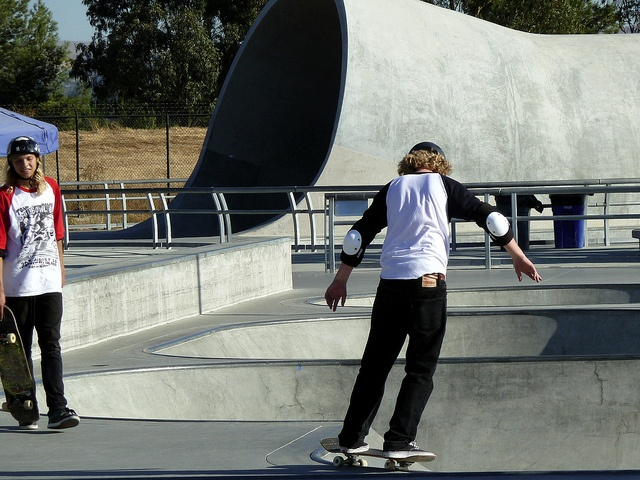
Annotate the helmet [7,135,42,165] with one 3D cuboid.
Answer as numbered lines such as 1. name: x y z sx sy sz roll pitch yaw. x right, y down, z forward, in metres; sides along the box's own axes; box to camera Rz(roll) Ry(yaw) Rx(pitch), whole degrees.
1. helmet: -4.540 -1.392 22.180 0.467 0.386 0.222 0 6 -13

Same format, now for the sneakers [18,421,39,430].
1. sneakers: -4.449 2.848 22.173 0.268 0.112 0.107 1 2 -7

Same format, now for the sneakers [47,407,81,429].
1. sneakers: -3.904 2.750 22.047 0.566 0.253 0.217 -4 -3 14
